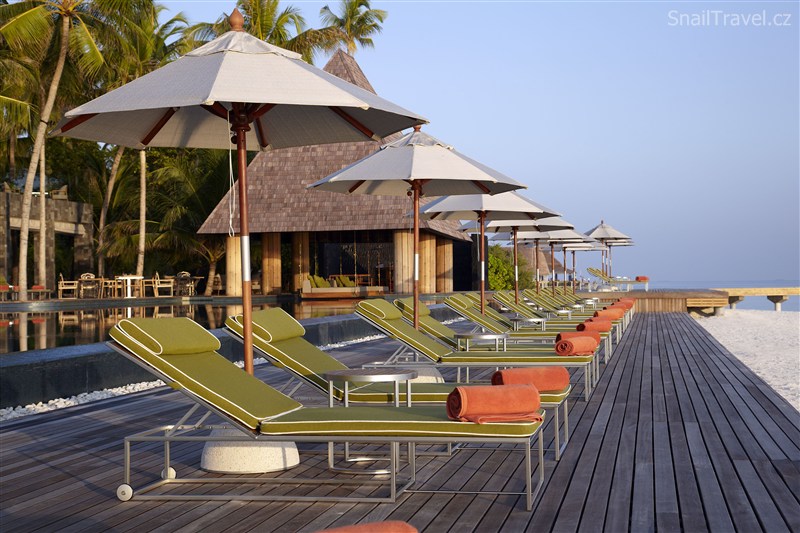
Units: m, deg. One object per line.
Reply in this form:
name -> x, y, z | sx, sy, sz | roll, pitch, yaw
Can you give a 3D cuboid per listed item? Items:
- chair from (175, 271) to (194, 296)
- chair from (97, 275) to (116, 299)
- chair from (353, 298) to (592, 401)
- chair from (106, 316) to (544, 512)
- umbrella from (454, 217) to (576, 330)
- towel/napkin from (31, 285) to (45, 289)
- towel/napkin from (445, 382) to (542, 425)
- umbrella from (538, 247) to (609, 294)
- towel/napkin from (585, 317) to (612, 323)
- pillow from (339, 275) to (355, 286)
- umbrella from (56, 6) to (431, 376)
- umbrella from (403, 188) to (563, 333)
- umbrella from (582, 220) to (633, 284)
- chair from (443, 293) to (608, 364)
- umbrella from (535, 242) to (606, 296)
chair -> -7.724, 0.597, 29.893 | 0.909, 0.921, 0.848 | -1, -5, -3
chair -> -9.937, 0.718, 28.740 | 0.627, 0.818, 0.631 | -1, -4, -2
chair -> 0.868, 1.071, 10.087 | 2.449, 1.037, 1.293 | 1, 1, 7
chair -> -0.548, 1.254, 7.915 | 4.033, 1.765, 1.584 | 0, 1, 3
umbrella -> 2.429, 0.062, 17.071 | 2.101, 1.771, 2.080 | -1, -5, 2
towel/napkin -> -11.457, 0.666, 26.969 | 0.401, 0.146, 0.410 | -1, -2, 21
towel/napkin -> 0.794, 1.138, 7.073 | 0.565, 0.208, 0.363 | 2, -5, -33
umbrella -> 7.454, 0.179, 36.940 | 2.026, 1.946, 1.998 | -1, -5, 5
towel/napkin -> 2.664, 0.711, 11.416 | 0.179, 0.045, 0.182 | 1, 1, 32
pillow -> -1.789, 0.466, 27.533 | 0.464, 0.501, 0.353 | 0, 1, 19
umbrella -> -1.740, -0.634, 9.422 | 3.554, 3.023, 3.432 | -1, 8, -7
umbrella -> 1.262, -0.175, 13.404 | 2.152, 2.073, 2.267 | -2, -2, 27
umbrella -> 6.846, -0.591, 28.562 | 1.836, 1.933, 1.778 | -3, 4, 39
chair -> 1.597, 0.965, 11.645 | 1.951, 0.802, 1.132 | -1, 1, 6
umbrella -> 6.974, 0.107, 35.044 | 2.059, 1.620, 1.944 | -1, -4, 1
